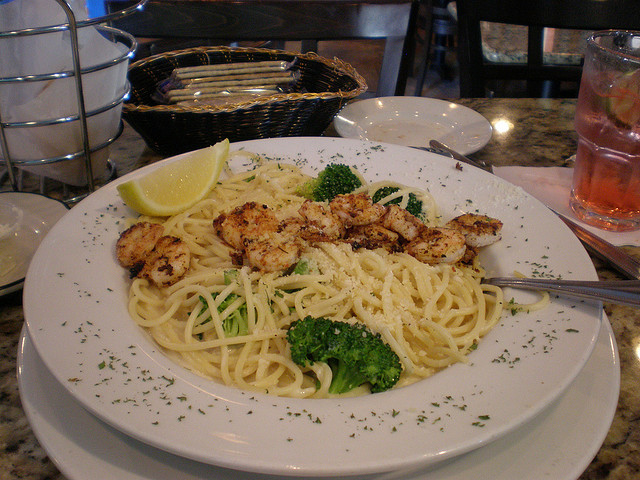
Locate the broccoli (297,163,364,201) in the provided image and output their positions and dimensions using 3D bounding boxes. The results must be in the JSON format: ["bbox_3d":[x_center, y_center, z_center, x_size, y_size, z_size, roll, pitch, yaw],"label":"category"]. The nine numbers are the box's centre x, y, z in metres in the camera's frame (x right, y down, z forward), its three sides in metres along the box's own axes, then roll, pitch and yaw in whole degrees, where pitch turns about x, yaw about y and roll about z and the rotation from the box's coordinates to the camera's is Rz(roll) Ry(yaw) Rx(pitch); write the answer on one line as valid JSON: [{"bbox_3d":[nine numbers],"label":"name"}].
[{"bbox_3d":[0.057,-0.252,2.459,0.171,0.094,0.212,-1,32,-2],"label":"broccoli"}]

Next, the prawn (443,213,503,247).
[{"bbox_3d":[0.633,-0.028,2.217,0.259,0.078,0.193,-9,60,29],"label":"prawn"}]

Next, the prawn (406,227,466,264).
[{"bbox_3d":[0.463,0.025,2.196,0.229,0.146,0.104,17,40,19],"label":"prawn"}]

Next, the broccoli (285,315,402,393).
[{"bbox_3d":[0.085,0.388,1.898,0.403,0.171,0.227,8,37,7],"label":"broccoli"}]

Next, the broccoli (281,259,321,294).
[{"bbox_3d":[-0.081,0.162,2.198,0.135,0.039,0.135,32,62,18],"label":"broccoli"}]

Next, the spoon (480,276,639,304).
[{"bbox_3d":[0.837,0.174,1.888,0.640,0.068,0.077,1,70,29],"label":"spoon"}]

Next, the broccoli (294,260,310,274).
[{"bbox_3d":[-0.071,0.113,2.216,0.049,0.017,0.050,9,71,0],"label":"broccoli"}]

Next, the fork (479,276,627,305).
[{"bbox_3d":[0.815,0.176,1.900,0.047,0.055,0.360,-21,21,-38],"label":"fork"}]

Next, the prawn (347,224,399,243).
[{"bbox_3d":[0.214,-0.026,2.254,0.155,0.046,0.092,4,16,16],"label":"prawn"}]

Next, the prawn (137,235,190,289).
[{"bbox_3d":[-0.599,0.087,2.110,0.161,0.060,0.199,35,63,6],"label":"prawn"}]

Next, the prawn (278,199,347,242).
[{"bbox_3d":[-0.009,-0.064,2.200,0.195,0.071,0.195,37,60,8],"label":"prawn"}]

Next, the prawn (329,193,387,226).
[{"bbox_3d":[0.171,-0.137,2.314,0.252,0.104,0.238,10,31,23],"label":"prawn"}]

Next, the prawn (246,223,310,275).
[{"bbox_3d":[-0.164,0.043,2.191,0.184,0.135,0.251,24,42,26],"label":"prawn"}]
